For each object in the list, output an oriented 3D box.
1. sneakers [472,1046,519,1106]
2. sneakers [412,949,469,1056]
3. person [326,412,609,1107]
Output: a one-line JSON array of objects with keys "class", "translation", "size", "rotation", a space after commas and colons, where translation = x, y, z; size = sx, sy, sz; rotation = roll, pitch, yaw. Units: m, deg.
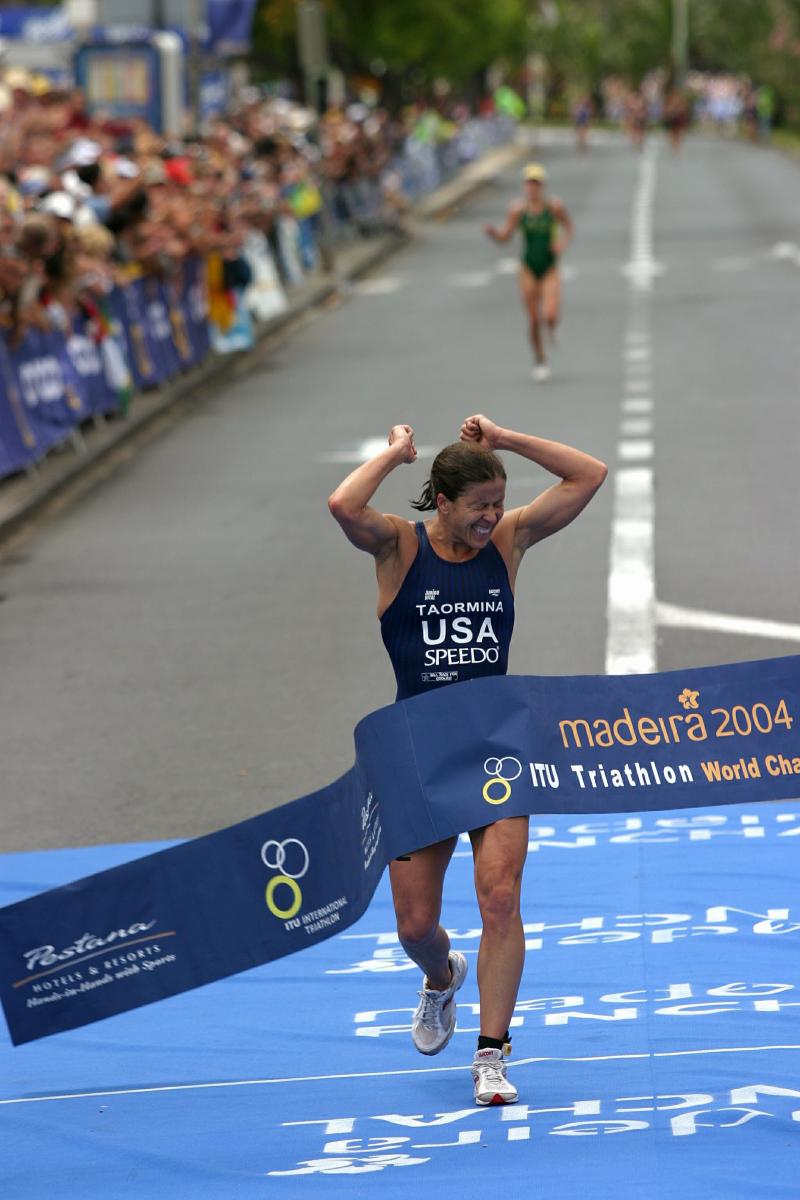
[{"class": "sneakers", "translation": [0.194, 0.978, 2.570], "size": [0.062, 0.071, 0.165], "rotation": [-1, -7, -2]}, {"class": "sneakers", "translation": [0.100, 0.985, 3.035], "size": [0.105, 0.274, 0.121], "rotation": [12, 10, 13]}, {"class": "person", "translation": [0.228, 0.304, 2.811], "size": [0.600, 1.409, 0.527], "rotation": [-9, -2, -2]}]
